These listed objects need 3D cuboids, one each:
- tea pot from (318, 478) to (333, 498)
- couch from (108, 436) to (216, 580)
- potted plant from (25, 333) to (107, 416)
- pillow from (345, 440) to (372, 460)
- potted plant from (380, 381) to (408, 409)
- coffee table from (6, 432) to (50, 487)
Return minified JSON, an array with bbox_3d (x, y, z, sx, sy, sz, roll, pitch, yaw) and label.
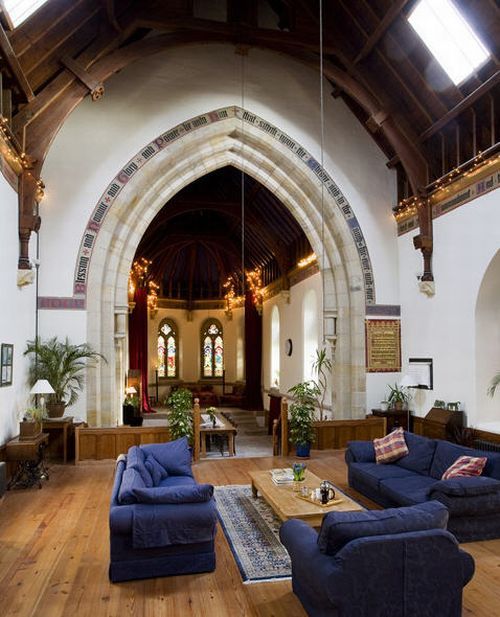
[{"bbox_3d":[0.746,1.765,4.611,0.108,0.203,0.194,1,-2,-25],"label":"tea pot"},{"bbox_3d":[-0.897,1.792,4.490,0.787,0.686,1.851,1,-4,-15],"label":"couch"},{"bbox_3d":[-3.240,1.155,8.205,1.136,1.363,0.770,-1,-5,-20],"label":"potted plant"},{"bbox_3d":[1.435,1.845,6.200,0.248,0.160,0.255,2,-2,-8],"label":"pillow"},{"bbox_3d":[2.884,1.779,9.717,0.506,0.605,0.492,0,0,-20],"label":"potted plant"},{"bbox_3d":[-3.129,2.106,6.541,0.312,0.472,0.754,-1,-1,-8],"label":"coffee table"}]
